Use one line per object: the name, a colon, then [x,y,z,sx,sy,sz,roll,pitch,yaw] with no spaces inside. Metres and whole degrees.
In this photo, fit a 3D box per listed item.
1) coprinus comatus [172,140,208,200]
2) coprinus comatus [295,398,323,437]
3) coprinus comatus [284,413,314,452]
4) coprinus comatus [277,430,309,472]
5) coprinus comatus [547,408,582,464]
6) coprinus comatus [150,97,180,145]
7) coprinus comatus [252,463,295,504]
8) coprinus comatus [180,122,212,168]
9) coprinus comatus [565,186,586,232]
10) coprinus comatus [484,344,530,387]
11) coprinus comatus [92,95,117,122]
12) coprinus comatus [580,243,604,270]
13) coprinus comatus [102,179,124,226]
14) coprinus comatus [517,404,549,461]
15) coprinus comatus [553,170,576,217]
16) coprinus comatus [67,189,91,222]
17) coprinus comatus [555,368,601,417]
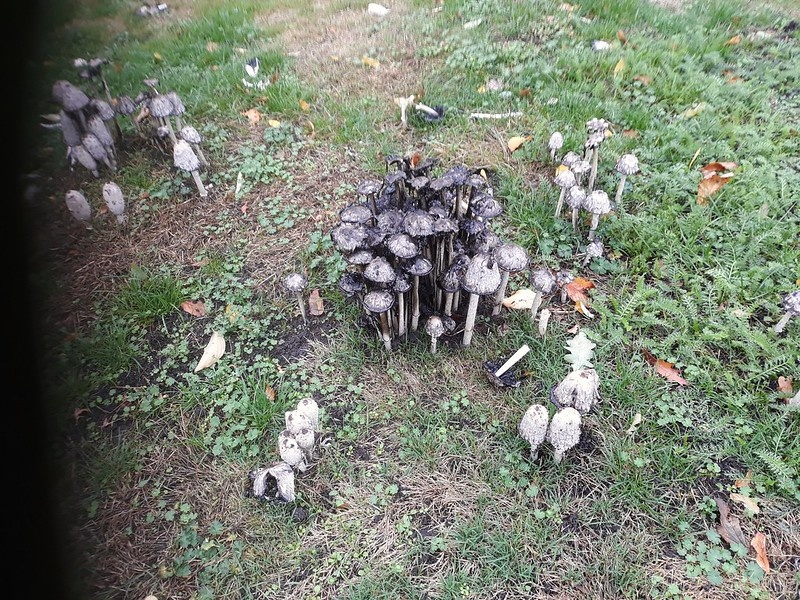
coprinus comatus: [-2.214,-1.340,7.041,0.203,0.630,0.220,-19,89,-17]
coprinus comatus: [-0.704,0.918,5.162,0.129,0.300,0.131,-12,43,5]
coprinus comatus: [-0.740,0.986,5.119,0.176,0.128,0.306,-35,77,-13]
coprinus comatus: [-0.805,1.150,5.083,0.145,0.307,0.188,-29,8,35]
coprinus comatus: [1.254,1.023,5.053,0.280,0.483,0.168,-3,40,-2]
coprinus comatus: [-2.482,-1.883,7.080,0.266,0.638,0.293,-14,81,-9]
coprinus comatus: [-0.961,1.367,5.033,0.336,0.254,0.245,-1,40,0]
coprinus comatus: [-2.172,-1.623,7.140,0.236,0.733,0.241,45,81,-3]
coprinus comatus: [1.671,-0.858,6.385,0.200,0.424,0.204,5,48,17]
coprinus comatus: [0.926,0.609,5.667,0.362,0.204,0.320,-44,64,-6]
coprinus comatus: [-3.031,-1.951,6.870,0.050,0.215,0.169,-15,16,39]
coprinus comatus: [1.827,-0.467,6.309,0.171,0.224,0.290,13,42,16]
coprinus comatus: [-2.846,-0.988,6.693,0.169,0.459,0.280,-20,44,-20]
coprinus comatus: [1.018,1.032,5.115,0.191,0.422,0.197,6,44,14]
coprinus comatus: [1.577,-1.002,6.419,0.206,0.426,0.207,-23,52,-10]
coprinus comatus: [-3.028,-0.867,6.341,0.177,0.299,0.097,-5,29,5]
coprinus comatus: [1.375,0.702,5.146,0.291,0.177,0.328,-1,40,1]
